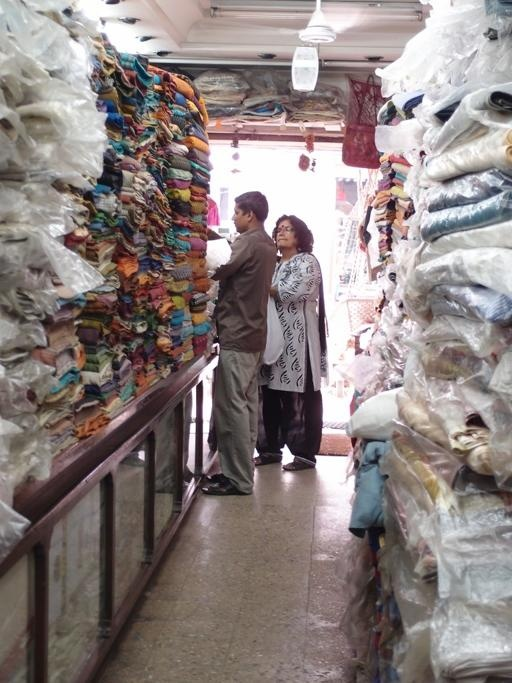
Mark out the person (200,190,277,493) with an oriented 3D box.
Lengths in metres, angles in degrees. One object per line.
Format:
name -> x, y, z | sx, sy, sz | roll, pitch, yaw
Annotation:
person -> -0.114, 0.123, 3.533 | 0.490, 1.909, 0.305 | 1, 5, -7

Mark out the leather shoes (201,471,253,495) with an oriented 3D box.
leather shoes -> -0.210, 1.025, 3.527 | 0.266, 0.098, 0.159 | 11, -4, -14

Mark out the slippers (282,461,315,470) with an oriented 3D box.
slippers -> 0.346, 1.014, 4.102 | 0.262, 0.099, 0.094 | 2, -2, -9
